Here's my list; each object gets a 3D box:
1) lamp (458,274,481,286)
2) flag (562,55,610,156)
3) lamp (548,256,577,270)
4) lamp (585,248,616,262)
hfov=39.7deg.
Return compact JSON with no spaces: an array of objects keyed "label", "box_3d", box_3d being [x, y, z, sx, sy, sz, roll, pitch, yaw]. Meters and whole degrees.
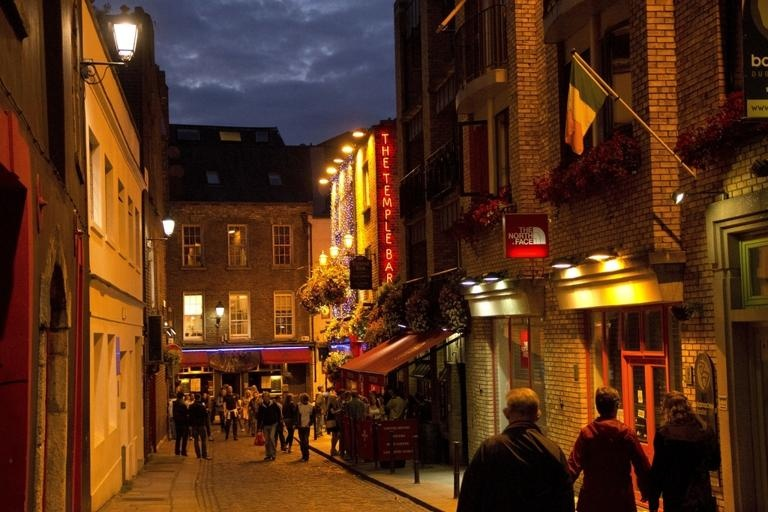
[{"label":"lamp","box_3d":[2.073,0.515,25.517,0.285,0.188,0.281,-7,-9,43]},{"label":"flag","box_3d":[3.578,-2.727,19.058,0.386,1.649,1.006,3,-13,-23]},{"label":"lamp","box_3d":[3.474,0.130,20.922,0.458,0.206,0.798,0,-14,-13]},{"label":"lamp","box_3d":[4.066,-0.016,19.720,0.533,0.280,0.567,-7,-14,16]}]
